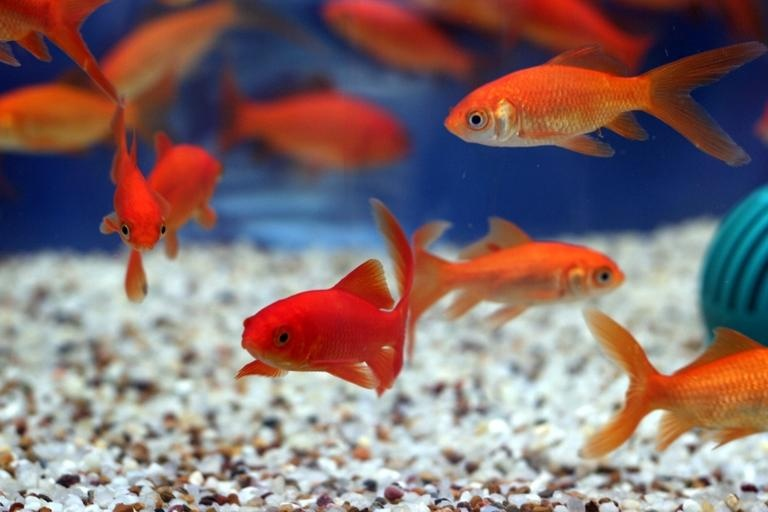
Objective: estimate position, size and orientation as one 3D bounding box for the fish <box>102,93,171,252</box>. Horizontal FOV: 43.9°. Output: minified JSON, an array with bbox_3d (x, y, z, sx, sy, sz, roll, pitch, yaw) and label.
[{"bbox_3d":[-1.102,-0.325,4.203,0.256,0.644,0.318,4,-12,-24],"label":"fish"}]
